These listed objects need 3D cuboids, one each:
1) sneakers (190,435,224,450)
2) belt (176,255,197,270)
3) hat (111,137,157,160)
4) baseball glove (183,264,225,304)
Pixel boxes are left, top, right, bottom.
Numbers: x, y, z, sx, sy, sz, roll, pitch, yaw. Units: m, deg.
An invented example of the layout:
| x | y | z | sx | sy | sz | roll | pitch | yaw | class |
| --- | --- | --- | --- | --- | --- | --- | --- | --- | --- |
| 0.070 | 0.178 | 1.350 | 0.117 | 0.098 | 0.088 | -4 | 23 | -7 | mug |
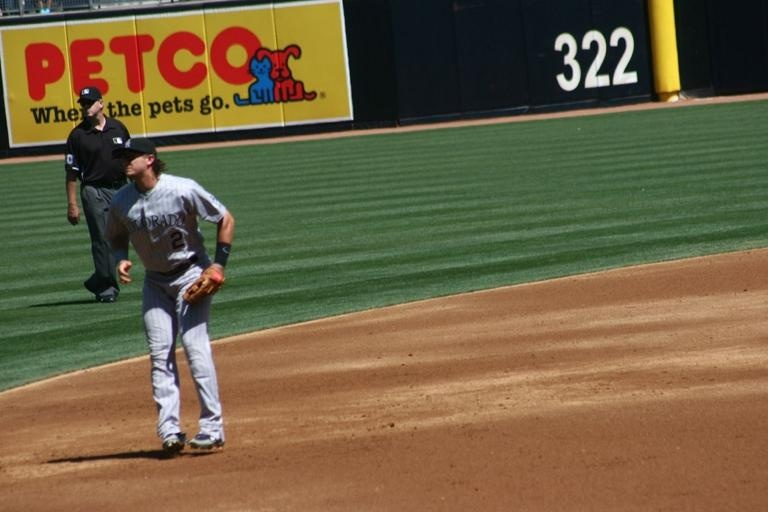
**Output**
| x | y | z | sx | sy | sz | roll | pitch | yaw | class |
| --- | --- | --- | --- | --- | --- | --- | --- | --- | --- |
| -2.822 | 2.956 | 29.402 | 0.498 | 0.273 | 0.241 | -6 | 15 | -14 | sneakers |
| -3.116 | 0.096 | 29.454 | 0.222 | 0.219 | 0.058 | 27 | 20 | -16 | belt |
| -3.975 | -1.739 | 29.377 | 0.559 | 0.291 | 0.395 | -2 | -2 | -19 | hat |
| -2.857 | 0.481 | 29.452 | 0.680 | 0.273 | 0.497 | -44 | 25 | 0 | baseball glove |
